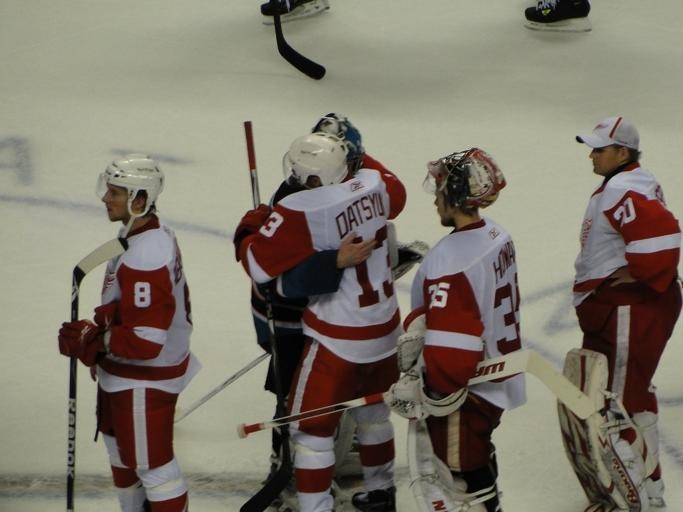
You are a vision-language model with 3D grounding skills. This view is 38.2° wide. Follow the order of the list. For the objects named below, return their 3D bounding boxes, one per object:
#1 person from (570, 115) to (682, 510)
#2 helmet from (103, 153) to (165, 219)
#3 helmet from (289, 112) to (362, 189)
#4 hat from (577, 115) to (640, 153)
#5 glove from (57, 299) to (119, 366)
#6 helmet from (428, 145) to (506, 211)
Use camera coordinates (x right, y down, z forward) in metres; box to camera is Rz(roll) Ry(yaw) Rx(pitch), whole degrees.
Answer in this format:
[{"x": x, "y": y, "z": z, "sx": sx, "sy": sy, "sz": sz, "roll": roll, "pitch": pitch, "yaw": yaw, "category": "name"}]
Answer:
[{"x": 1.893, "y": 0.224, "z": 6.430, "sx": 0.445, "sy": 2.216, "sz": 0.786, "roll": -4, "pitch": 13, "yaw": -33, "category": "person"}, {"x": -1.226, "y": -0.428, "z": 5.984, "sx": 0.415, "sy": 0.412, "sz": 0.312, "roll": 2, "pitch": 10, "yaw": -2, "category": "helmet"}, {"x": -0.106, "y": -0.660, "z": 6.127, "sx": 0.396, "sy": 0.430, "sz": 0.506, "roll": 9, "pitch": 12, "yaw": 25, "category": "helmet"}, {"x": 1.783, "y": -0.815, "z": 6.535, "sx": 0.363, "sy": 0.185, "sz": 0.229, "roll": 10, "pitch": 10, "yaw": 0, "category": "hat"}, {"x": -1.537, "y": 0.481, "z": 6.005, "sx": 0.364, "sy": 0.358, "sz": 0.154, "roll": -8, "pitch": -34, "yaw": 11, "category": "glove"}, {"x": 0.767, "y": -0.470, "z": 5.948, "sx": 0.423, "sy": 0.338, "sz": 0.325, "roll": -7, "pitch": 17, "yaw": 10, "category": "helmet"}]
